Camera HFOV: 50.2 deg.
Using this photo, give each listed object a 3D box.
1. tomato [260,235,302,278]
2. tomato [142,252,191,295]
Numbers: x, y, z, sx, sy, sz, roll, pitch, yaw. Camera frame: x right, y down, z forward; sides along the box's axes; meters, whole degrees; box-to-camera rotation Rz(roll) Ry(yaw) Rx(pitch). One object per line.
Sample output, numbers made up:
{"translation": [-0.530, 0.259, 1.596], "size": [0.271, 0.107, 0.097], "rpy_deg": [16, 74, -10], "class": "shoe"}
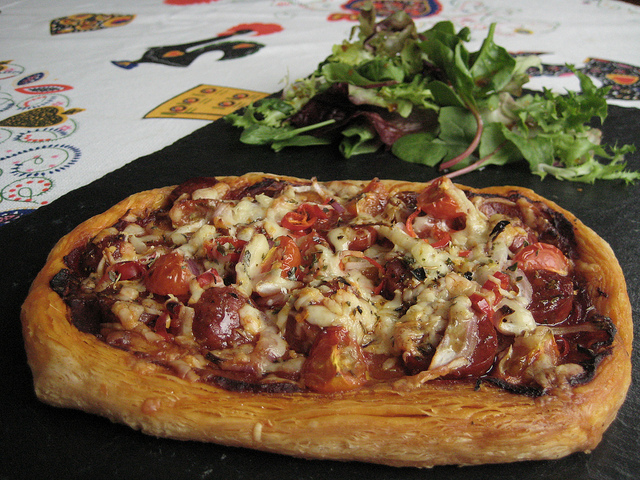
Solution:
{"translation": [-0.228, 0.114, 4.452], "size": [0.215, 0.342, 0.224], "rpy_deg": [28, 54, -38], "class": "tomato"}
{"translation": [-0.976, 0.206, 4.374], "size": [0.359, 0.145, 0.290], "rpy_deg": [-4, 29, -6], "class": "tomato"}
